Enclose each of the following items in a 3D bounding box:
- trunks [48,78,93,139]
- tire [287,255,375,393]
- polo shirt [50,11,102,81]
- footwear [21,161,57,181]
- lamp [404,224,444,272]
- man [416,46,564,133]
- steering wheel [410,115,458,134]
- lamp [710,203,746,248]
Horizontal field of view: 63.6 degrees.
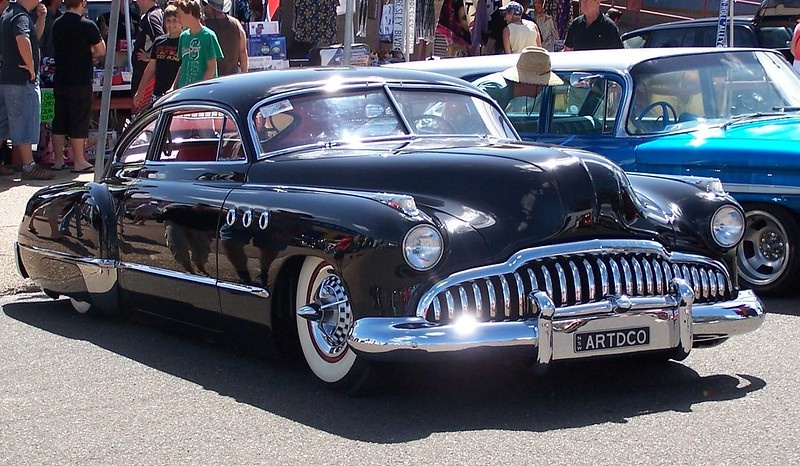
[{"bbox_3d":[-5.859,-2.244,11.503,0.631,1.081,0.728,1,21,-47],"label":"trunks"},{"bbox_3d":[-0.433,0.564,4.192,0.515,0.901,0.790,-5,9,-28],"label":"tire"},{"bbox_3d":[-5.750,-3.213,11.437,0.918,1.164,0.634,2,13,5],"label":"polo shirt"},{"bbox_3d":[-5.974,-1.020,10.712,0.572,0.276,0.245,-1,10,-15],"label":"footwear"},{"bbox_3d":[0.122,0.085,3.948,0.279,0.286,0.276,-1,-3,14],"label":"lamp"},{"bbox_3d":[0.758,-1.763,7.842,1.219,0.369,0.876,6,39,-7],"label":"man"},{"bbox_3d":[0.269,-0.891,5.336,0.239,0.057,0.231,8,22,-3],"label":"steering wheel"},{"bbox_3d":[2.436,-0.046,4.716,0.132,0.363,0.357,2,1,-16],"label":"lamp"}]
